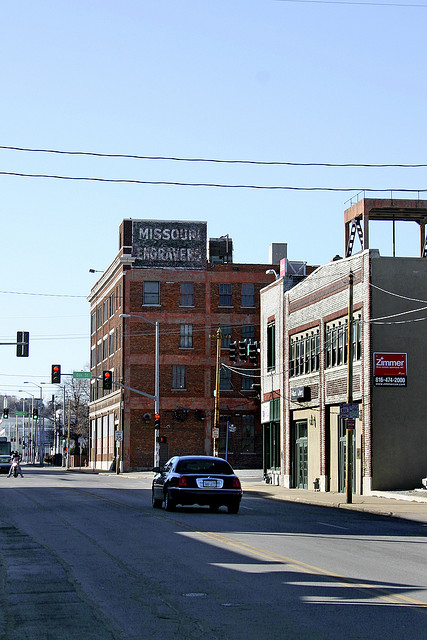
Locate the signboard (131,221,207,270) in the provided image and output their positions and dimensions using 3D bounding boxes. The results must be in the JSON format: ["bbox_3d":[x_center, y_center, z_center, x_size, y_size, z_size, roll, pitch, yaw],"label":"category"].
[{"bbox_3d":[-3.254,-5.563,74.364,5.324,3.754,0.708,-1,-7,-8],"label":"signboard"}]

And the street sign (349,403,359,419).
[{"bbox_3d":[4.437,2.805,31.960,0.285,0.452,0.338,-3,-8,8],"label":"street sign"}]

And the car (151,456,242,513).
[{"bbox_3d":[-0.577,4.058,25.322,1.582,1.347,2.462,3,-11,-34],"label":"car"}]

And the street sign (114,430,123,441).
[{"bbox_3d":[-6.096,7.365,65.257,0.443,0.630,1.554,-1,-9,-8],"label":"street sign"}]

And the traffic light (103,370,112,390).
[{"bbox_3d":[-5.404,3.000,51.879,0.328,0.869,0.659,0,-8,-15],"label":"traffic light"}]

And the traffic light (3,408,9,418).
[{"bbox_3d":[-16.495,7.248,80.464,0.249,0.747,1.879,0,-9,-10],"label":"traffic light"}]

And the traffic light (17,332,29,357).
[{"bbox_3d":[-7.672,0.932,40.638,0.426,0.924,0.522,-1,-7,-3],"label":"traffic light"}]

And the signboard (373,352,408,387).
[{"bbox_3d":[6.306,1.768,36.183,0.929,1.183,0.116,1,-11,-6],"label":"signboard"}]

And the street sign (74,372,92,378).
[{"bbox_3d":[-8.752,3.569,67.555,0.588,0.408,2.723,-2,-6,17],"label":"street sign"}]

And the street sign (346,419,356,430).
[{"bbox_3d":[4.387,3.279,32.293,0.230,0.311,0.331,-2,-8,3],"label":"street sign"}]

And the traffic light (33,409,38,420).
[{"bbox_3d":[-15.448,8.023,87.884,0.278,0.728,1.044,-1,-9,-2],"label":"traffic light"}]

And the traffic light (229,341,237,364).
[{"bbox_3d":[0.867,1.275,43.192,0.312,0.831,0.916,-2,-8,2],"label":"traffic light"}]

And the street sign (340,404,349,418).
[{"bbox_3d":[4.176,2.822,31.957,0.205,0.401,0.259,-1,-7,-3],"label":"street sign"}]

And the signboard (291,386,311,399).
[{"bbox_3d":[3.900,3.165,44.777,0.357,0.630,2.206,-1,-9,-9],"label":"signboard"}]

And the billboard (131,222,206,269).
[{"bbox_3d":[-3.275,-5.501,74.425,5.322,4.574,0.131,1,-33,-6],"label":"billboard"}]

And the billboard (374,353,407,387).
[{"bbox_3d":[6.299,1.770,36.179,0.905,1.090,0.110,2,-12,-4],"label":"billboard"}]

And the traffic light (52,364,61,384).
[{"bbox_3d":[-8.212,2.760,52.864,0.366,0.844,0.716,0,-8,-12],"label":"traffic light"}]

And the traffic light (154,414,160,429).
[{"bbox_3d":[-3.162,5.674,57.023,0.212,0.724,0.828,0,-8,-10],"label":"traffic light"}]

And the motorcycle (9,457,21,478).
[{"bbox_3d":[-11.169,8.233,57.298,0.581,0.916,1.256,0,-2,-6],"label":"motorcycle"}]
